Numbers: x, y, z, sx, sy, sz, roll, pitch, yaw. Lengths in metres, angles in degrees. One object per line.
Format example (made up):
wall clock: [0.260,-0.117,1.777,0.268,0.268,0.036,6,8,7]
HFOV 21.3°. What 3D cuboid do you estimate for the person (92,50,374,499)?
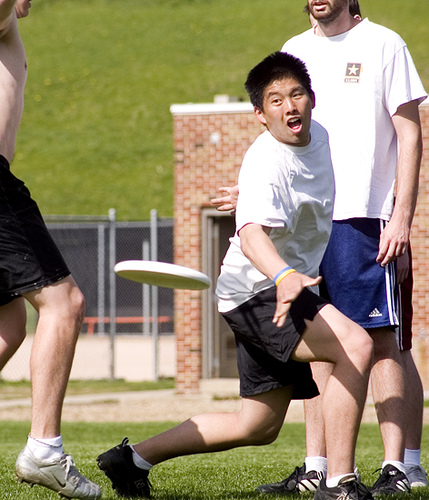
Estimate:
person: [0.230,0.153,5.012,1.119,2.051,1.028,-2,8,-8]

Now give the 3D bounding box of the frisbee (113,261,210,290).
frisbee: [-0.242,0.122,5.309,0.435,0.189,0.435,-1,8,-4]
